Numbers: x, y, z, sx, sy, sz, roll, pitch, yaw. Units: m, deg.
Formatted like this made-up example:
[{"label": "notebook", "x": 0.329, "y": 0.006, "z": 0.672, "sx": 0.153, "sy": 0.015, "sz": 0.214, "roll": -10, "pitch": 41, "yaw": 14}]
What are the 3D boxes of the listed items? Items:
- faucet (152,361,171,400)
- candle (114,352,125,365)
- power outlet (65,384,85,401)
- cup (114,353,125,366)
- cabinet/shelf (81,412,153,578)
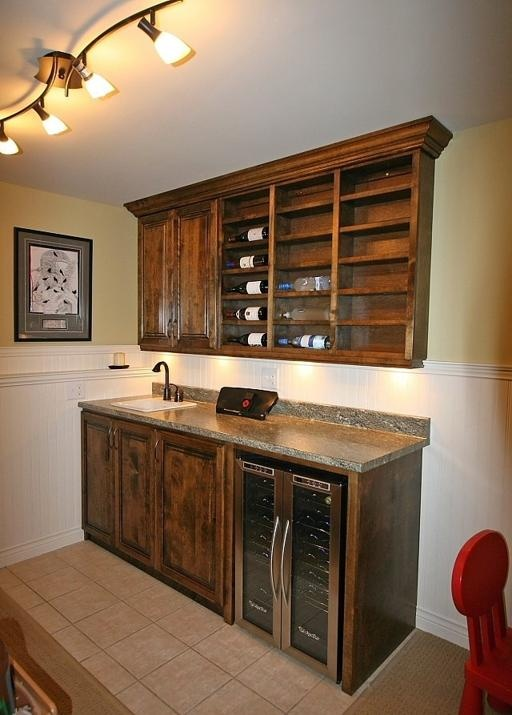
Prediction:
[{"label": "faucet", "x": -0.627, "y": 0.144, "z": 3.504, "sx": 0.111, "sy": 0.260, "sz": 0.711, "roll": 0, "pitch": 3, "yaw": -11}, {"label": "candle", "x": -0.936, "y": 0.009, "z": 3.589, "sx": 0.073, "sy": 0.088, "sz": 0.074, "roll": 3, "pitch": -6, "yaw": -26}, {"label": "power outlet", "x": -1.148, "y": 0.214, "z": 3.298, "sx": 0.030, "sy": 0.091, "sz": 0.093, "roll": 1, "pitch": -8, "yaw": 36}, {"label": "cup", "x": -0.937, "y": 0.010, "z": 3.620, "sx": 0.052, "sy": 0.089, "sz": 0.101, "roll": 3, "pitch": 4, "yaw": 26}, {"label": "cabinet/shelf", "x": -0.786, "y": 0.785, "z": 3.009, "sx": 0.323, "sy": 0.836, "sz": 0.825, "roll": 0, "pitch": 1, "yaw": -44}]
